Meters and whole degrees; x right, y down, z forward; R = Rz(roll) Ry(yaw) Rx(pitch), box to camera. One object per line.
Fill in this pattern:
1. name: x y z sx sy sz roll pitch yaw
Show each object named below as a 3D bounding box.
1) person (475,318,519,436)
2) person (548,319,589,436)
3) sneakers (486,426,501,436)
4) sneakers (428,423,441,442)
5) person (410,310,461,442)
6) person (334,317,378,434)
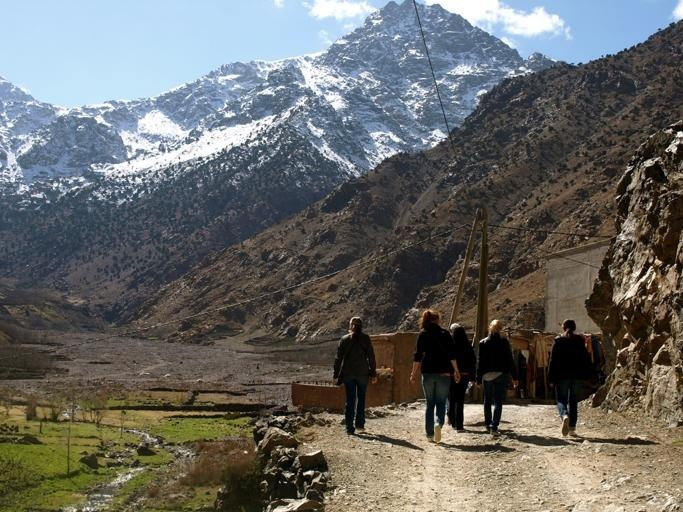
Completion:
1. person: 3.552 2.753 15.755 0.837 2.577 0.900 -1 -4 11
2. person: 5.135 2.685 15.387 0.890 2.531 0.740 -1 -4 15
3. sneakers: 3.479 3.957 15.679 0.124 0.129 0.326 9 -4 25
4. sneakers: 2.039 3.833 15.063 0.231 0.512 0.232 3 7 7
5. person: 2.069 2.623 15.071 0.908 2.880 0.536 0 -4 5
6. person: 0.293 2.766 15.866 0.967 2.733 1.255 0 -4 1
